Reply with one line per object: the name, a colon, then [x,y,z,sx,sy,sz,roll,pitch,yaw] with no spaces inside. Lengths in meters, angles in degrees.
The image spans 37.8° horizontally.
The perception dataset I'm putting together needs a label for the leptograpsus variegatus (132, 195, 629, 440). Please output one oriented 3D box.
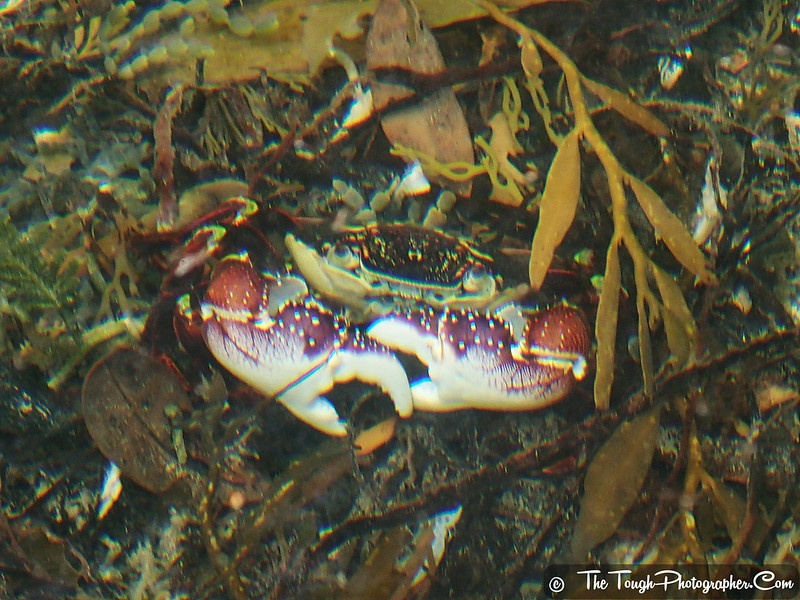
leptograpsus variegatus: [-0.033,0.061,1.230,0.347,0.111,0.232,14,82,-1]
